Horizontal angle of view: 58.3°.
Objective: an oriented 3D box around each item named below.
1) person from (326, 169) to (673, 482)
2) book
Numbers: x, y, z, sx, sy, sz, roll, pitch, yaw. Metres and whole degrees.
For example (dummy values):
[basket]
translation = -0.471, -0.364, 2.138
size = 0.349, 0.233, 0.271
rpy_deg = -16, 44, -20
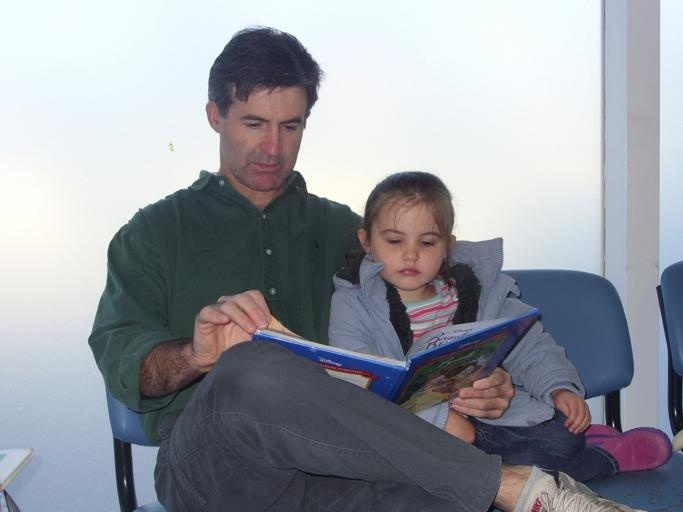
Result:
[person]
translation = 0.447, 0.211, 1.895
size = 0.932, 0.995, 0.788
rpy_deg = -8, -2, 13
[book]
translation = 0.209, 0.282, 1.607
size = 0.506, 0.162, 0.382
rpy_deg = 5, -15, -22
